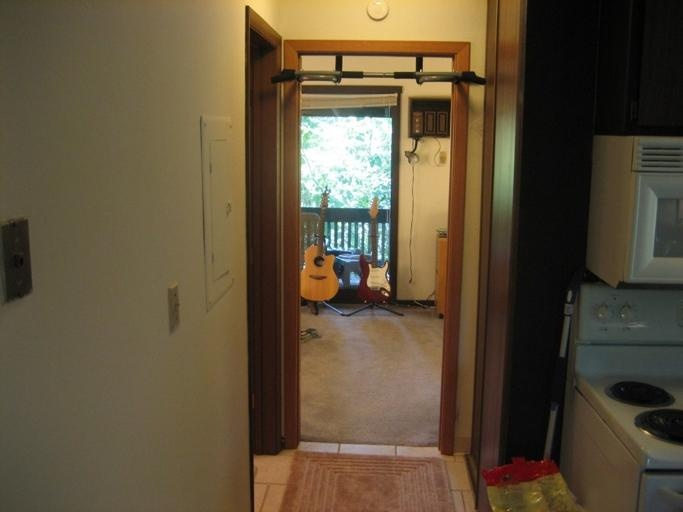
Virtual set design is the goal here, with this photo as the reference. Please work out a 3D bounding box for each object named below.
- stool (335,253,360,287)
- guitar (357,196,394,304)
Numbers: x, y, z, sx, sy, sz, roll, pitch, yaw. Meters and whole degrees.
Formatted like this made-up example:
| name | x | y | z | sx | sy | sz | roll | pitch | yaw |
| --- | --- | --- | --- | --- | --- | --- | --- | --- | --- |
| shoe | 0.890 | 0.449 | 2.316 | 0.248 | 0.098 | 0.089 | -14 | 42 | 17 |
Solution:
| name | x | y | z | sx | sy | sz | roll | pitch | yaw |
| --- | --- | --- | --- | --- | --- | --- | --- | --- | --- |
| stool | 0.083 | 0.159 | 6.137 | 0.264 | 0.316 | 0.297 | 1 | 7 | 12 |
| guitar | 0.363 | 0.004 | 5.858 | 0.331 | 1.198 | 0.509 | 1 | 11 | 5 |
